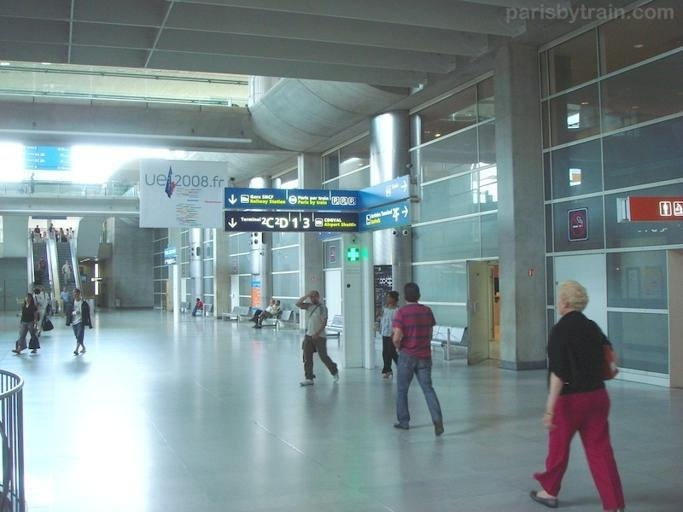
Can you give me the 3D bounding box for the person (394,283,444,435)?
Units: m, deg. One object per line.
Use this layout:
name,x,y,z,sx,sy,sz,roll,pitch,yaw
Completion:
person,1.109,1.470,8.312,0.704,2.161,0.697,-1,-1,5

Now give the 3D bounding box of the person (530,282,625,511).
person,2.340,1.398,5.646,0.760,2.267,0.424,-1,-2,16

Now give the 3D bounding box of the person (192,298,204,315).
person,-9.034,3.209,35.931,0.636,1.060,1.752,0,-2,-19

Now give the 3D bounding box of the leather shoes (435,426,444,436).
leather shoes,1.399,2.493,8.157,0.098,0.117,0.130,5,3,41

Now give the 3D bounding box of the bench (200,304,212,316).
bench,-8.532,3.375,35.833,0.373,0.720,0.720,7,-10,-36

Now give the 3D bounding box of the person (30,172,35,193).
person,-19.090,-4.518,35.150,0.306,1.391,1.283,0,-2,-28

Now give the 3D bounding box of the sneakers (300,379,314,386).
sneakers,-0.711,2.601,11.734,0.270,0.117,0.105,6,-9,-18
